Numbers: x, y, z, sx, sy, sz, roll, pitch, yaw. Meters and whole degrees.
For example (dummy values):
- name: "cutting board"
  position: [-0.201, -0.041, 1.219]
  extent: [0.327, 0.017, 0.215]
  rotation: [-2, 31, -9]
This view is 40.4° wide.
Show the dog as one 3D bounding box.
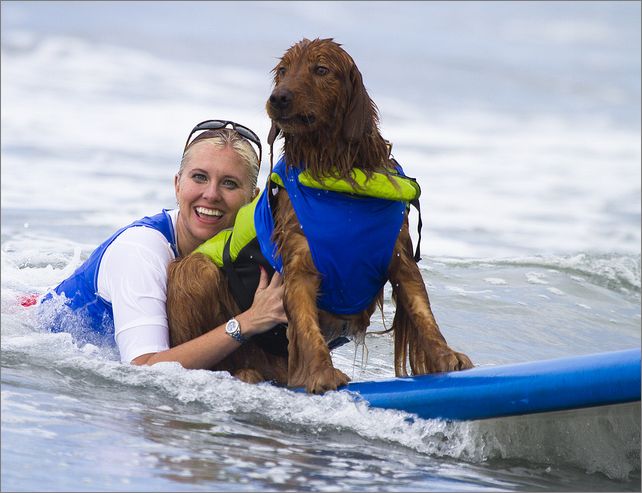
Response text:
- name: "dog"
  position: [-0.150, -0.035, 5.449]
  extent: [1.590, 2.230, 2.147]
  rotation: [4, -14, -28]
